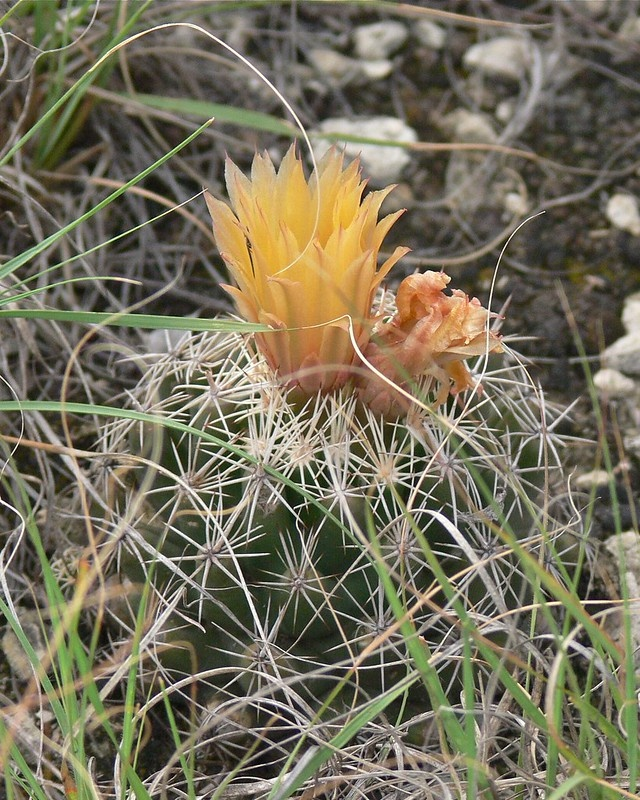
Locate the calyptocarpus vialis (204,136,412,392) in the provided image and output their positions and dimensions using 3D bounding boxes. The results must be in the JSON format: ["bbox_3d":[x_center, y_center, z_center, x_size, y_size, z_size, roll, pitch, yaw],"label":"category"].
[{"bbox_3d":[-0.002,-0.144,0.955,0.212,0.206,0.269,-14,62,-6],"label":"calyptocarpus vialis"}]

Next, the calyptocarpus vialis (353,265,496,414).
[{"bbox_3d":[0.096,-0.070,0.960,0.195,0.127,0.090,8,103,-11],"label":"calyptocarpus vialis"}]
